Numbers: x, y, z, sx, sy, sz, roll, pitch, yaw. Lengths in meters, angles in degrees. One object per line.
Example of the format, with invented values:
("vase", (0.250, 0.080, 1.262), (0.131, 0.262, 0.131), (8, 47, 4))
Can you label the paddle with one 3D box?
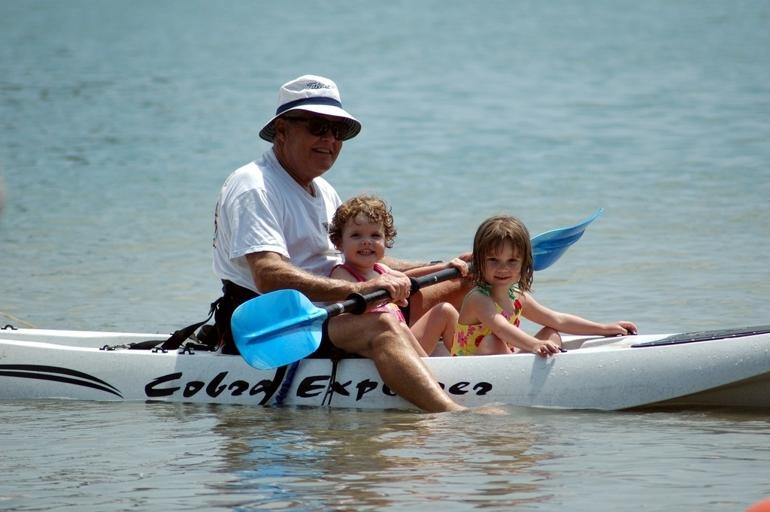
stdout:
("paddle", (0.314, 0.275, 13.486), (3.719, 0.444, 0.523), (-18, 65, -1))
